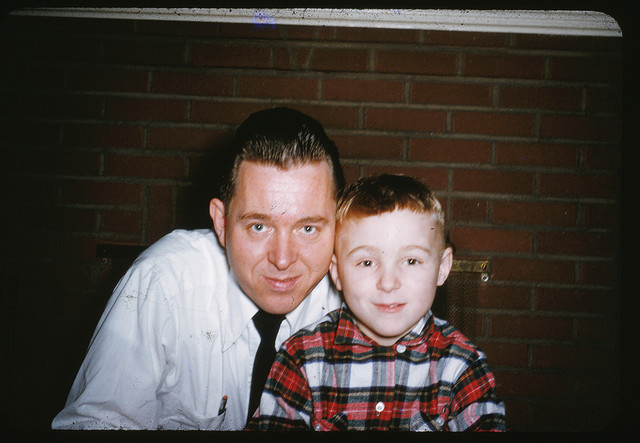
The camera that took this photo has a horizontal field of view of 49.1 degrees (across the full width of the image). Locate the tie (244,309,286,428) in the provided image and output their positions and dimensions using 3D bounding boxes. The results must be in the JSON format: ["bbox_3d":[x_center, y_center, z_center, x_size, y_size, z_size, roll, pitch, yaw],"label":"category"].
[{"bbox_3d":[-0.165,0.425,2.117,0.117,0.343,0.035,15,-7,-3],"label":"tie"}]
